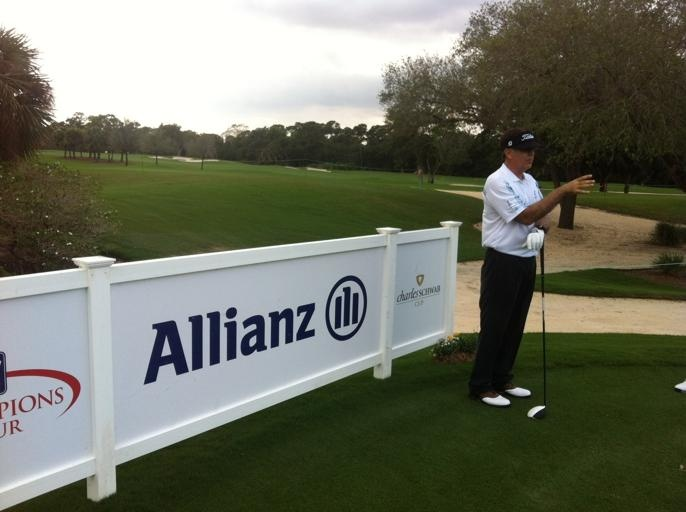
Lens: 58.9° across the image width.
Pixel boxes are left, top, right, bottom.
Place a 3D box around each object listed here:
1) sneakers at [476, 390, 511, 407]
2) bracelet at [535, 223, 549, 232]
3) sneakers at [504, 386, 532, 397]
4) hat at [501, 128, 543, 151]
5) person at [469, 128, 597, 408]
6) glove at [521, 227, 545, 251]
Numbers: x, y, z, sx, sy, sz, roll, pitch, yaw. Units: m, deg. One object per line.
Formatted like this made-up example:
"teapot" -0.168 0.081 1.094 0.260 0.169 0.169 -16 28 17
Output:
"sneakers" 1.450 1.352 5.748 0.123 0.098 0.223 1 -6 -35
"bracelet" 1.924 -0.255 5.834 0.096 0.076 0.138 6 16 -11
"sneakers" 1.738 1.340 6.006 0.202 0.068 0.108 -2 4 40
"hat" 1.671 -1.089 5.762 0.265 0.155 0.208 3 25 33
"person" 1.650 0.106 5.813 0.862 2.580 0.860 -1 11 2
"glove" 1.774 -0.192 5.600 0.129 0.100 0.235 -8 43 17
